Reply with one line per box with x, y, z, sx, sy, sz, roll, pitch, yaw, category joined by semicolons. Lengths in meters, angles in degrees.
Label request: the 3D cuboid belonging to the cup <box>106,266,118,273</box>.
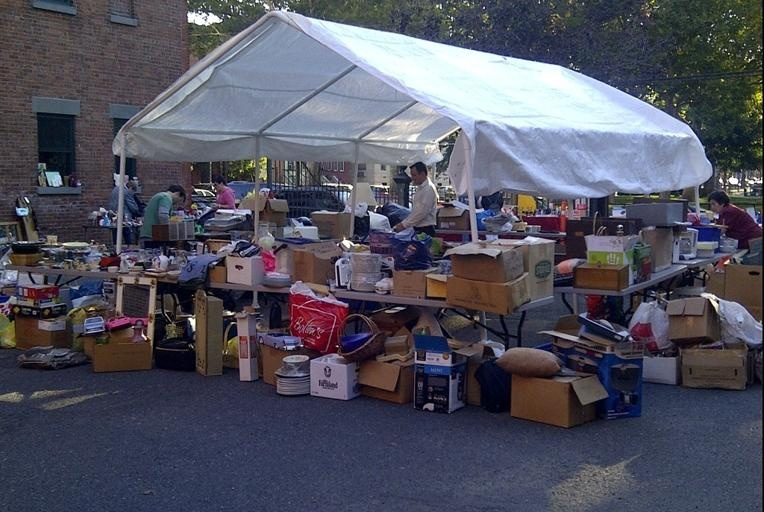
-4.190;0.194;10.262;0.111;0.062;0.111;1;1;0;cup

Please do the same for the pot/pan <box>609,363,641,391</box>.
2.809;1.406;7.625;0.403;0.347;0.064;-2;3;-16;pot/pan

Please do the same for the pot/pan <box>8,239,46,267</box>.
-5.844;-0.067;10.843;0.435;0.305;0.435;-1;4;-34;pot/pan

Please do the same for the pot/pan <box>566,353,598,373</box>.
2.332;1.251;7.717;0.075;0.192;0.391;-4;5;-41;pot/pan

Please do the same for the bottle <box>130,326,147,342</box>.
-3.451;1.090;9.392;0.210;0.234;0.209;0;1;-6;bottle
